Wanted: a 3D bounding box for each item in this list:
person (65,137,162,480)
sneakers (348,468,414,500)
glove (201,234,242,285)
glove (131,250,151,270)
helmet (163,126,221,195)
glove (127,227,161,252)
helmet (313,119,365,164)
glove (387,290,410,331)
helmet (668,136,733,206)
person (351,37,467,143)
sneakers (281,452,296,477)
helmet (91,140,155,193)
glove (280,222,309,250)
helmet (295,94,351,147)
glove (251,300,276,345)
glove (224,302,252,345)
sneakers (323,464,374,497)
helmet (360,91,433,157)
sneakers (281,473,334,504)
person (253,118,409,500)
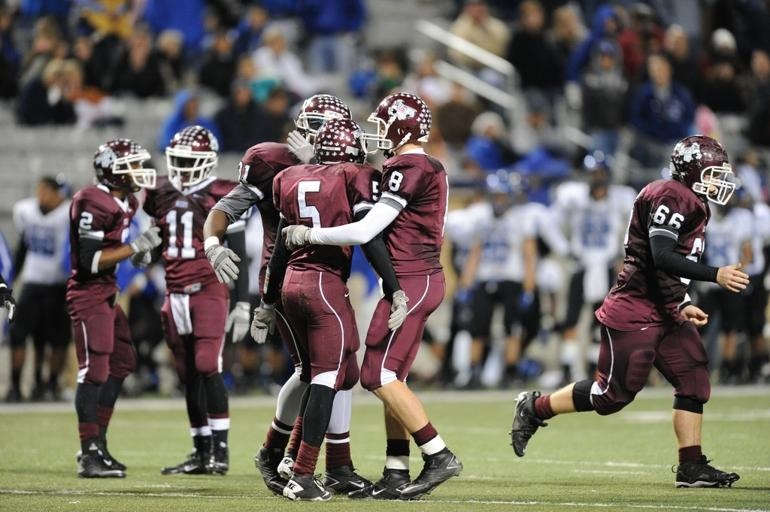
[{"bbox_3d":[-2.511,0.461,10.035,0.737,3.073,0.595,0,0,-18],"label":"person"},{"bbox_3d":[0.010,1.905,9.186,0.602,0.300,0.212,-2,-2,5],"label":"sneakers"},{"bbox_3d":[-1.371,0.000,9.410,0.274,0.439,0.152,-26,-16,12],"label":"glove"},{"bbox_3d":[-2.196,0.021,10.027,0.153,0.132,0.223,0,0,28],"label":"glove"},{"bbox_3d":[-1.822,-0.996,10.452,0.446,0.480,0.567,13,25,18],"label":"helmet"},{"bbox_3d":[-2.167,-0.149,9.978,0.279,0.247,0.272,0,0,-12],"label":"glove"},{"bbox_3d":[-0.358,-1.001,9.377,0.471,0.435,0.349,-5,17,-39],"label":"helmet"},{"bbox_3d":[0.111,0.448,9.060,0.140,0.332,0.175,0,0,10],"label":"glove"},{"bbox_3d":[2.812,-0.803,9.770,0.580,0.551,0.472,17,10,38],"label":"helmet"},{"bbox_3d":[0.830,-2.959,19.756,1.409,0.807,1.911,-12,31,-34],"label":"person"},{"bbox_3d":[-0.842,1.845,9.581,0.088,0.115,0.242,-7,39,9],"label":"sneakers"},{"bbox_3d":[-2.431,-0.843,10.201,0.558,0.514,0.462,-4,5,5],"label":"helmet"},{"bbox_3d":[-0.737,-0.157,9.114,0.291,0.207,0.193,0,0,9],"label":"glove"},{"bbox_3d":[-0.571,-1.252,9.708,0.456,0.451,0.390,22,8,-3],"label":"helmet"},{"bbox_3d":[-1.060,0.573,9.559,0.207,0.351,0.098,0,10,-34],"label":"glove"},{"bbox_3d":[-1.402,0.652,10.608,0.235,0.407,0.141,0,2,-5],"label":"glove"},{"bbox_3d":[-0.342,1.898,9.322,0.513,0.277,0.181,6,10,-7],"label":"sneakers"},{"bbox_3d":[0.107,-1.186,9.600,0.633,0.577,0.484,-2,6,-4],"label":"helmet"},{"bbox_3d":[-0.640,1.914,9.012,0.464,0.238,0.168,2,3,-18],"label":"sneakers"},{"bbox_3d":[-0.501,0.425,9.269,1.166,3.172,0.640,0,0,6],"label":"person"}]
